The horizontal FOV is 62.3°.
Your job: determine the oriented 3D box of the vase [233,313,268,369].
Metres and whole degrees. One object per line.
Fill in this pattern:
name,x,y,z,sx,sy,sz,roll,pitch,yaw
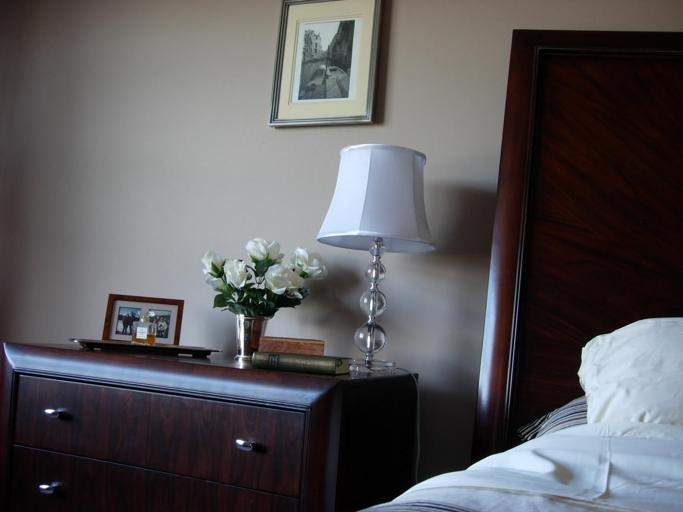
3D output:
vase,-0.330,0.305,2.034,0.148,0.196,0.149,7,-12,1

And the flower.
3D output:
flower,-0.301,0.162,2.228,0.457,0.484,0.422,10,-7,-31
